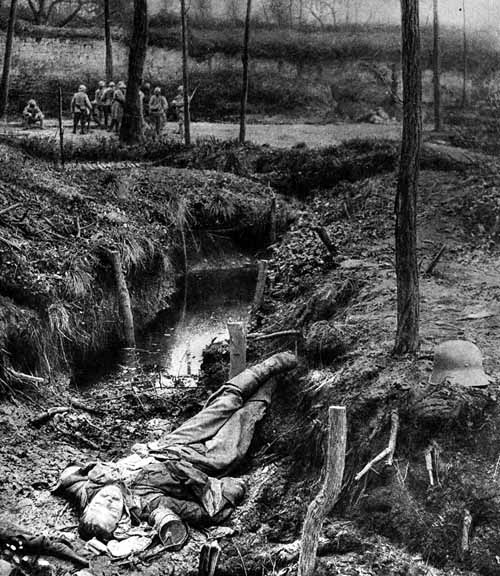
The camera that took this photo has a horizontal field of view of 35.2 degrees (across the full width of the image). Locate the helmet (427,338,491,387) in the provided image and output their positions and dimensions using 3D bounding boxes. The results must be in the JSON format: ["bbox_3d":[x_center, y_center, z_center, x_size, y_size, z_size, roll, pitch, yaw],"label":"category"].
[{"bbox_3d":[2.171,0.815,8.164,0.313,0.378,0.513,1,4,-8],"label":"helmet"}]
